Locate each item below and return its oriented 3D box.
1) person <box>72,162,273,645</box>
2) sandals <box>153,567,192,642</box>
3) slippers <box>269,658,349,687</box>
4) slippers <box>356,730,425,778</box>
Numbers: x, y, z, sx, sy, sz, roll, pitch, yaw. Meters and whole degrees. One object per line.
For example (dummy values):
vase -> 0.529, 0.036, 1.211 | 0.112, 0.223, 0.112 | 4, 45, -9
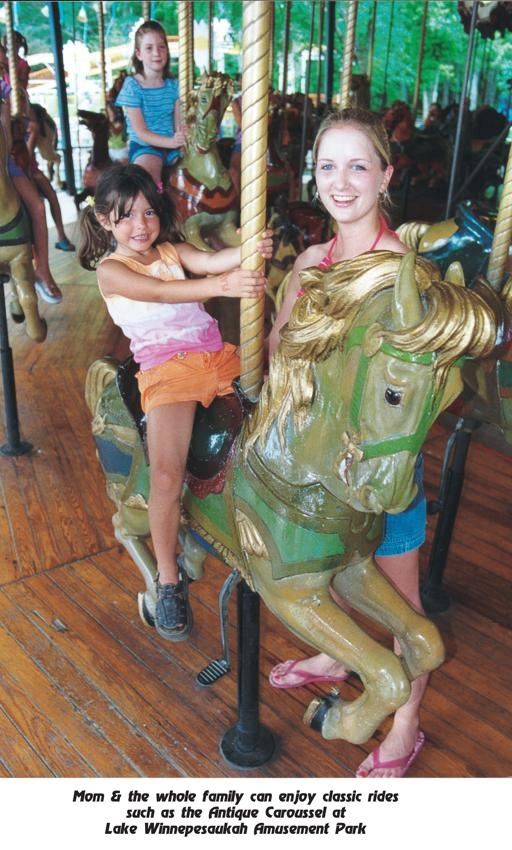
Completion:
person -> -0.203, 0.010, 1.672 | 0.349, 1.180, 0.728 | -6, 26, -13
sandals -> -0.204, 0.461, 1.735 | 0.089, 0.197, 0.089 | -2, -17, 1
slippers -> 0.157, 0.749, 2.078 | 0.246, 0.055, 0.100 | 1, 33, -1
slippers -> 0.351, 0.864, 1.750 | 0.189, 0.038, 0.082 | -32, 16, -35
